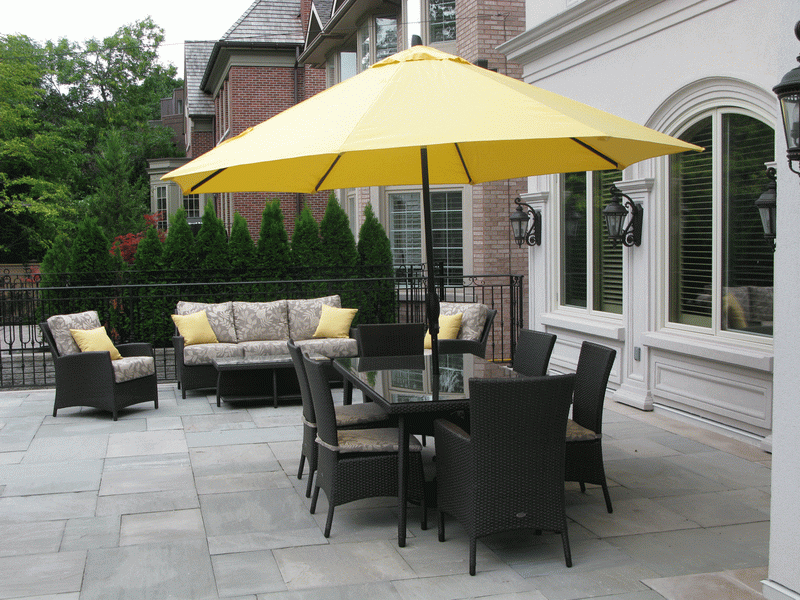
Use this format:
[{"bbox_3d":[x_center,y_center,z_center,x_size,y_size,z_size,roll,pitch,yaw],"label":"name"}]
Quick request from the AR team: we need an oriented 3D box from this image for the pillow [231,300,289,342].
[{"bbox_3d":[-2.000,0.325,10.090,0.546,0.370,0.196,-2,-23,-11],"label":"pillow"}]

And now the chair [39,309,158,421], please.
[{"bbox_3d":[-3.599,0.749,8.823,1.430,1.483,1.085,1,2,21],"label":"chair"}]

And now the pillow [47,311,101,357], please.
[{"bbox_3d":[-3.901,0.415,8.354,0.173,0.494,0.594,-12,-1,32],"label":"pillow"}]
